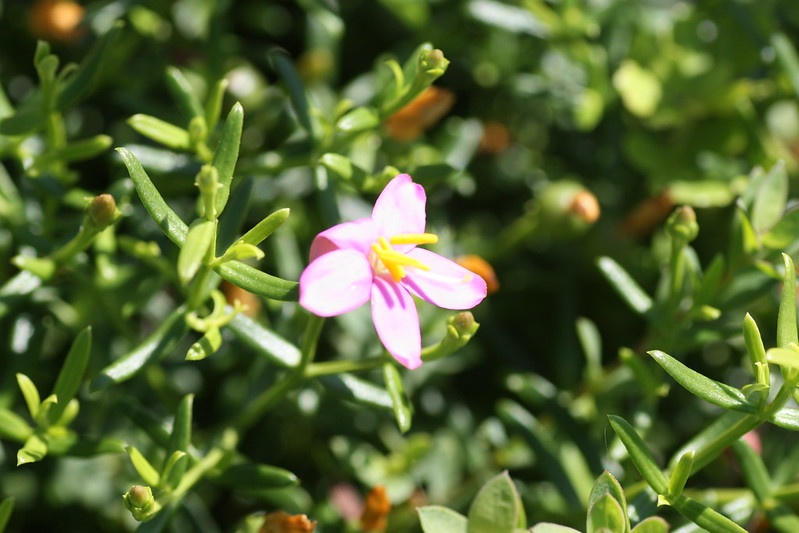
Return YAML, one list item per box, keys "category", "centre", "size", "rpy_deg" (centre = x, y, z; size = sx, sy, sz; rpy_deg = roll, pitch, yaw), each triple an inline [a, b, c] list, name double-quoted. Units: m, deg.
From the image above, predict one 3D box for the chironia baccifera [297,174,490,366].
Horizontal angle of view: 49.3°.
- category: "chironia baccifera"
  centre: [-0.026, 0.011, 1.123]
  size: [0.273, 0.131, 0.255]
  rpy_deg: [15, 45, -25]
